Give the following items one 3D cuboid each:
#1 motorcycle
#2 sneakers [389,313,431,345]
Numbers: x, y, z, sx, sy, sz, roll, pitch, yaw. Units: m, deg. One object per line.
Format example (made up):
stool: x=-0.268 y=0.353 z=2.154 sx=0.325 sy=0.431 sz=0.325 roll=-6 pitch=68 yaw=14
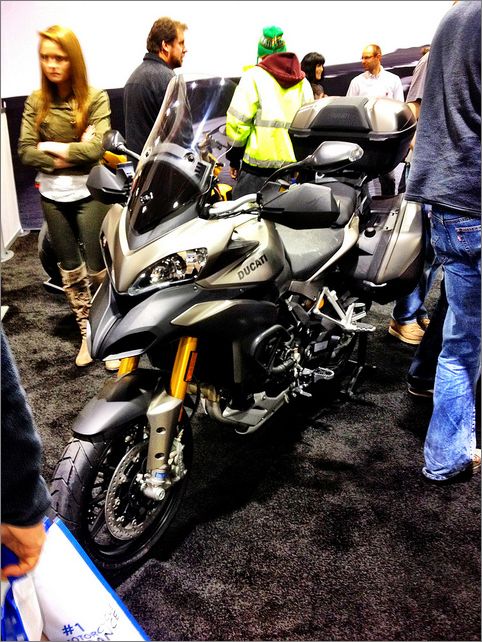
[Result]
motorcycle: x=0.073 y=-0.118 z=1.688 sx=0.655 sy=1.379 sz=1.757 roll=11 pitch=30 yaw=33
sneakers: x=1.066 y=0.047 z=3.106 sx=0.120 sy=0.115 sz=0.273 roll=-25 pitch=34 yaw=-36
